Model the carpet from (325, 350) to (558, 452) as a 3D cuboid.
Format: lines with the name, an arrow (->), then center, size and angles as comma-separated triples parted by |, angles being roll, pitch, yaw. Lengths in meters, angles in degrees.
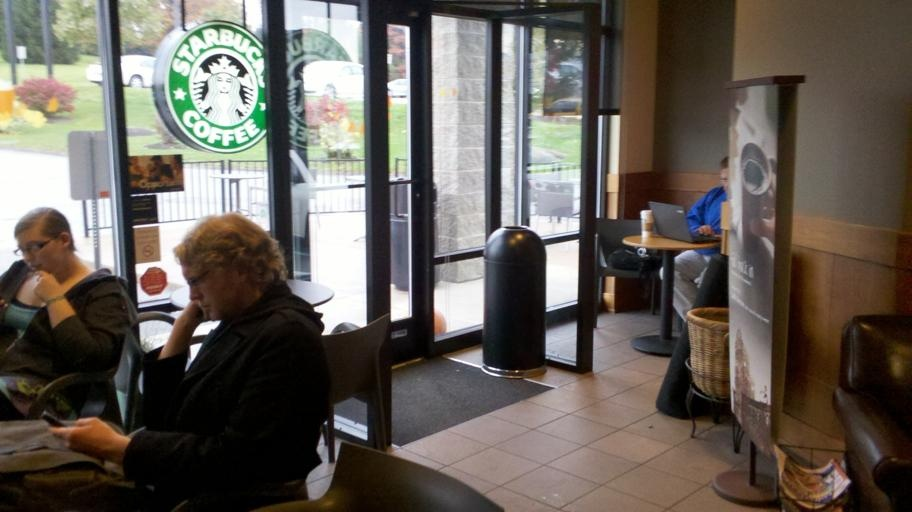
carpet -> -0.085, 1.203, 5.257 | 1.192, 0.016, 1.010 | -6, 7, -44

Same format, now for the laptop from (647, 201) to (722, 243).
laptop -> 2.468, -0.384, 6.863 | 0.452, 0.448, 0.604 | -10, 11, -31

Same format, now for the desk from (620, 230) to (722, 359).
desk -> 2.321, 0.400, 6.856 | 1.177, 1.073, 1.025 | 5, -12, -32

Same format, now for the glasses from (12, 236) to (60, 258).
glasses -> -2.653, -0.053, 4.051 | 0.186, 0.050, 0.178 | -13, 15, 25

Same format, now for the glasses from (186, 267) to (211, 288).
glasses -> -1.286, 0.102, 3.163 | 0.122, 0.076, 0.093 | 5, -12, -32
